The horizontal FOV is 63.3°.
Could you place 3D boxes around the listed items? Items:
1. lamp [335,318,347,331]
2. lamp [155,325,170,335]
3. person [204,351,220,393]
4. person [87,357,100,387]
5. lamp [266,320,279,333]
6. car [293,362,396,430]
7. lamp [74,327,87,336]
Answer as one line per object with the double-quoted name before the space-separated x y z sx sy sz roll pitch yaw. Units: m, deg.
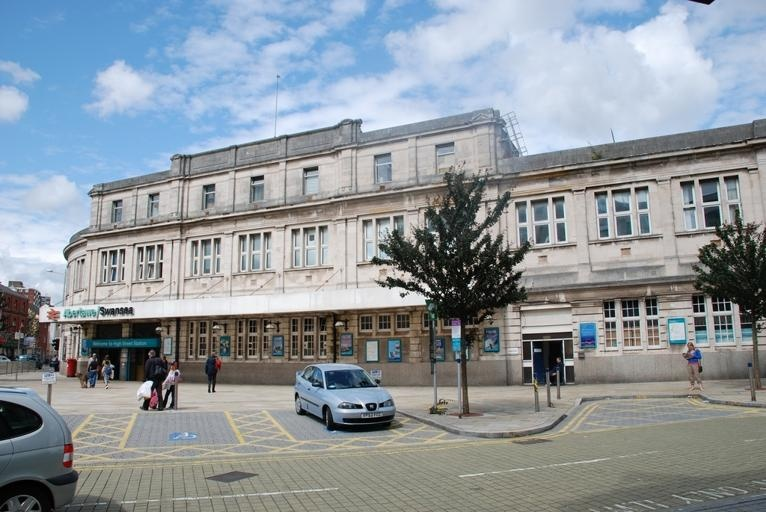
"lamp" -2.401 4.026 36.149 1.074 0.706 0.568 1 -5 -9
"lamp" -14.647 4.920 41.332 1.102 0.767 0.325 -11 -13 38
"person" -8.728 6.041 31.725 0.592 1.845 1.201 0 -11 -16
"person" -16.589 6.615 35.419 0.447 1.750 1.428 2 -12 -26
"lamp" -6.966 4.344 38.250 1.202 0.777 0.582 -13 -15 43
"car" -1.385 4.869 21.898 1.932 2.218 3.573 3 -13 -30
"lamp" -22.251 5.505 45.644 1.102 0.460 0.542 1 -25 38
